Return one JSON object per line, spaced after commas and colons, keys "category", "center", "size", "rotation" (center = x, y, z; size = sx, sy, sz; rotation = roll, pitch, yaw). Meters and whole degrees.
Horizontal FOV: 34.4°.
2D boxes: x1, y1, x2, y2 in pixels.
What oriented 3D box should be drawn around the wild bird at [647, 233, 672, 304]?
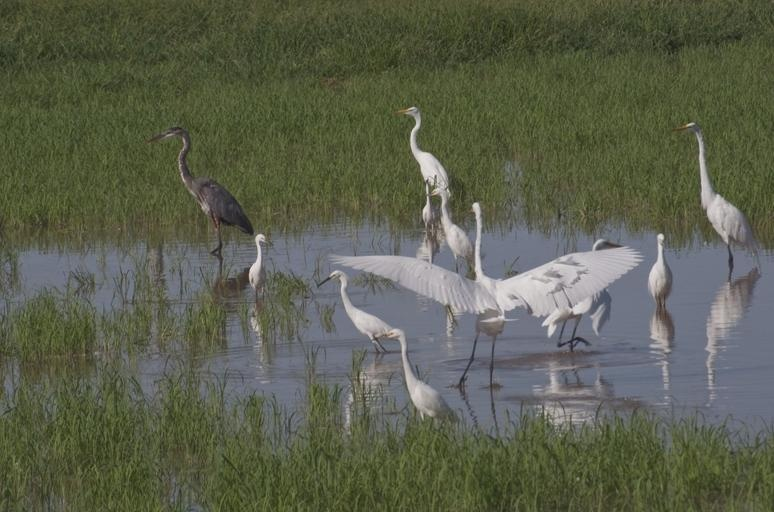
{"category": "wild bird", "center": [4.903, 0.348, 22.273], "size": [0.401, 1.258, 0.614], "rotation": [1, 26, 13]}
